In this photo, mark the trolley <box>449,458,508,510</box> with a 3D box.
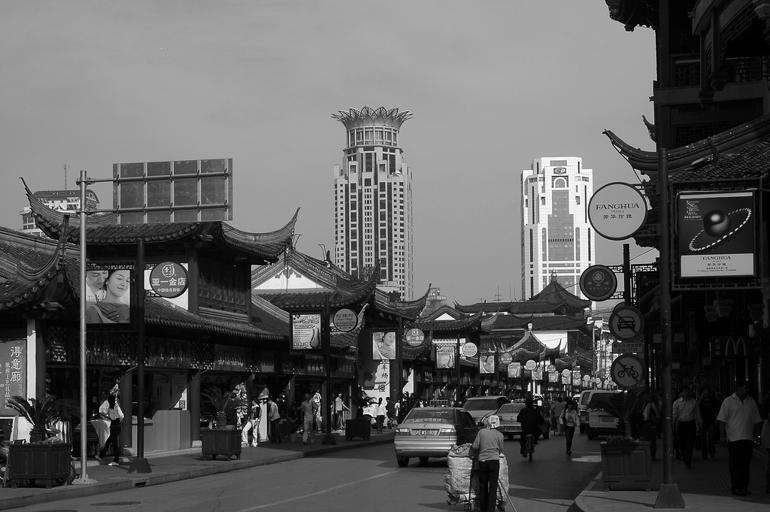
[{"bbox_3d":[2.583,6.145,42.373,1.380,1.358,0.784,1,-15,1],"label":"trolley"}]

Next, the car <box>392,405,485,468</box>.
[{"bbox_3d":[1.921,5.962,53.467,1.441,1.093,3.241,-1,-4,14],"label":"car"}]

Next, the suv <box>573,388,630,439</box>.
[{"bbox_3d":[9.395,6.844,66.169,3.094,2.779,5.251,0,-1,9],"label":"suv"}]

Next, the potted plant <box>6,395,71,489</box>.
[{"bbox_3d":[-10.683,5.643,47.698,2.079,2.774,1.771,3,-10,-24],"label":"potted plant"}]

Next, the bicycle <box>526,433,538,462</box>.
[{"bbox_3d":[5.209,6.809,55.335,0.490,0.661,1.060,-1,-25,5],"label":"bicycle"}]

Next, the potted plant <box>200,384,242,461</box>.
[{"bbox_3d":[-5.865,6.088,55.789,2.642,2.220,2.415,-3,-1,-10],"label":"potted plant"}]

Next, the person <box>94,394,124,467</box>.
[{"bbox_3d":[-9.508,5.747,52.946,0.946,2.684,0.968,-1,-2,-4],"label":"person"}]
